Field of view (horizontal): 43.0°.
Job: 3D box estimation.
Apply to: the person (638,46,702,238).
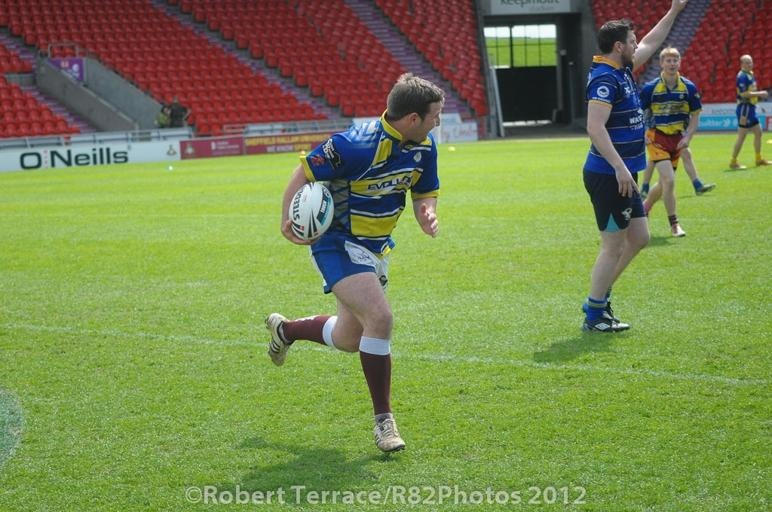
[{"bbox_3d":[3.761,-1.416,13.682,1.195,2.839,1.216,0,0,14],"label":"person"}]
